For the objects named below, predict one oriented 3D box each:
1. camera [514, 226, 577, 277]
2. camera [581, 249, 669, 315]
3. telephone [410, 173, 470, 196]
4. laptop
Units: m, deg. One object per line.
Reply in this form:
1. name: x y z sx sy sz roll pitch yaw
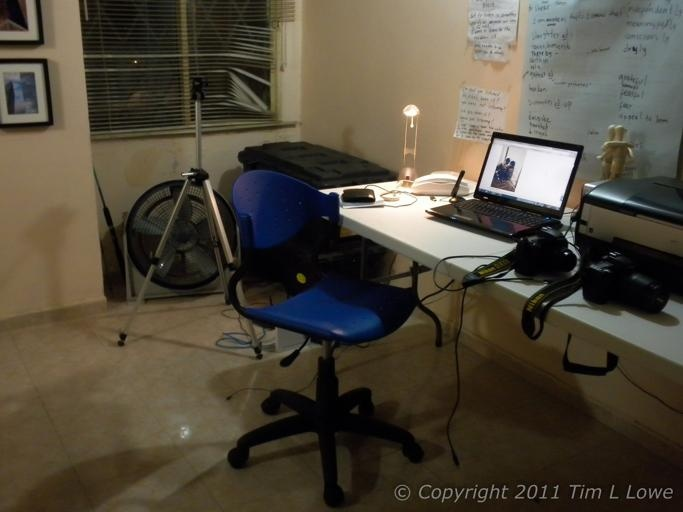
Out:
1. camera: 0.756 -0.009 1.975 0.216 0.160 0.164 -7 14 -17
2. camera: 0.957 0.088 1.797 0.191 0.150 0.243 -11 21 -24
3. telephone: 0.511 -0.374 2.831 0.199 0.062 0.152 0 16 0
4. laptop: 0.732 -0.286 2.442 0.560 0.408 0.588 -15 26 -33
